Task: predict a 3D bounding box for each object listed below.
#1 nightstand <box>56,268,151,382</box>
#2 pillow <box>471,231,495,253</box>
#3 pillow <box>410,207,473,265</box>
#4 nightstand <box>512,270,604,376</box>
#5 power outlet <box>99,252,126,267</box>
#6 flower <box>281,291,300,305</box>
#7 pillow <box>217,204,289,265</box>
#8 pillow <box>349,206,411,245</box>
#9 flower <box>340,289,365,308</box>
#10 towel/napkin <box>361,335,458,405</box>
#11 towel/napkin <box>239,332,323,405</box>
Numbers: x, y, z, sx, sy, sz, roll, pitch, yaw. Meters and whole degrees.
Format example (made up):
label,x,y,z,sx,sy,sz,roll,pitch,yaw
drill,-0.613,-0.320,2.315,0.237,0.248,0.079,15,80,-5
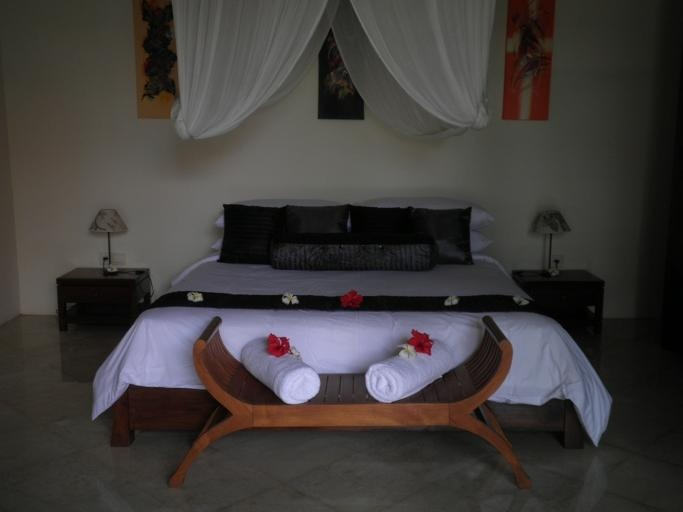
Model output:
label,x,y,z,sx,sy,sz,roll,pitch,yaw
nightstand,-2.008,0.572,4.251,0.790,0.860,0.851,-1,6,0
pillow,1.114,-0.089,4.209,0.165,0.195,0.058,4,-24,-3
pillow,0.747,-0.143,3.858,0.383,0.405,0.140,-1,-24,6
nightstand,1.860,0.522,4.387,0.649,0.666,0.980,1,7,8
power outlet,-2.037,0.034,4.613,0.203,0.148,0.115,2,18,-5
flower,-0.292,0.226,2.928,0.072,0.033,0.075,5,16,1
pillow,-0.710,-0.171,4.019,0.448,0.461,0.124,1,-7,1
pillow,0.302,-0.297,3.961,0.333,0.348,0.129,3,-30,2
flower,0.047,0.240,2.902,0.097,0.051,0.101,0,23,6
towel/napkin,0.343,0.536,2.497,0.211,0.150,0.390,11,12,38
towel/napkin,-0.289,0.548,2.433,0.247,0.187,0.476,2,10,-30
